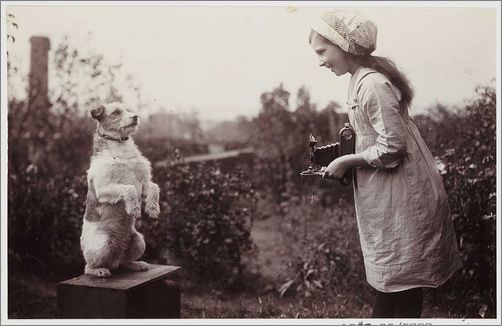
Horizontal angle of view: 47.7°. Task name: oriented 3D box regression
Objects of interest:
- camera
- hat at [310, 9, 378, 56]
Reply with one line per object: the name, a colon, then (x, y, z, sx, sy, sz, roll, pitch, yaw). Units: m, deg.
camera: (0.857, -0.114, 5.620, 0.621, 0.713, 0.442, 1, -2, 18)
hat: (0.890, -1.217, 5.455, 0.470, 0.241, 0.427, 24, -3, -7)
